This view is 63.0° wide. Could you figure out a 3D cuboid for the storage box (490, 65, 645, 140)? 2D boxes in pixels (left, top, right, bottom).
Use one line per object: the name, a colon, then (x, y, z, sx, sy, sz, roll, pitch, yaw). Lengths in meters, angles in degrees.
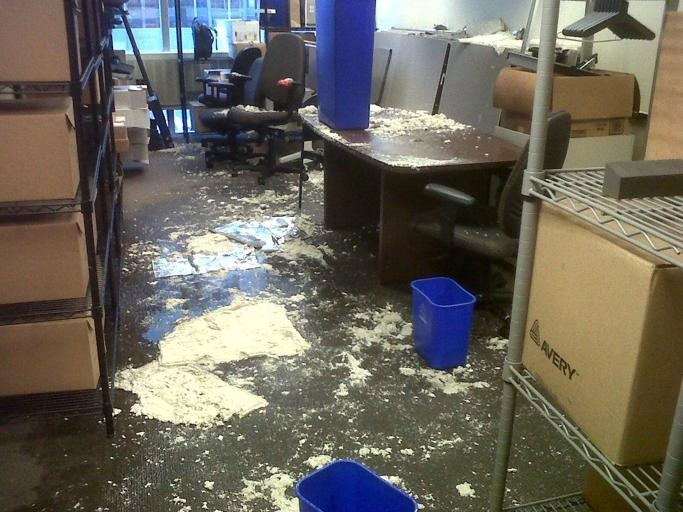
storage box: (1.259, -0.875, 3.227, 0.671, 0.301, 0.625, -7, 18, -17)
